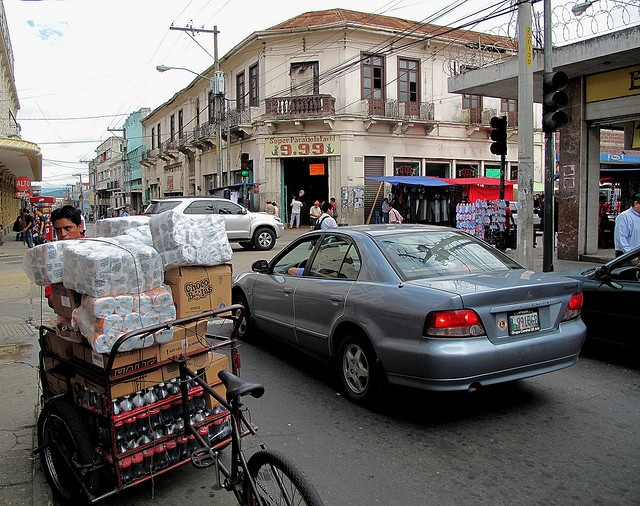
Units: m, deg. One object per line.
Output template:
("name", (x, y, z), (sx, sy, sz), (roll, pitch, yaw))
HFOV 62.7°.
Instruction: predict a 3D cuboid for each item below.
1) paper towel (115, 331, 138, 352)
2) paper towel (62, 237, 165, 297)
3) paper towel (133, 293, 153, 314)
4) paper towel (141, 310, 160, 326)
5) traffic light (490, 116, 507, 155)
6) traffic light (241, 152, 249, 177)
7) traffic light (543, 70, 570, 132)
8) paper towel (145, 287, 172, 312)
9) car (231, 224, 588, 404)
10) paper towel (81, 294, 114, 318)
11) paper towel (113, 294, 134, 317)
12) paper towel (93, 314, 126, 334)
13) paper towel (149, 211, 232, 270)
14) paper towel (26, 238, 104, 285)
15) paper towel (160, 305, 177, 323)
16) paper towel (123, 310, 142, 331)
("paper towel", (-1.322, 0.624, 3.597), (0.137, 0.151, 0.100), (-6, 15, -36))
("paper towel", (-1.560, 0.088, 3.868), (0.644, 0.363, 0.574), (15, 16, 42))
("paper towel", (-1.266, 0.362, 3.720), (0.104, 0.123, 0.062), (8, 12, -20))
("paper towel", (-1.221, 0.469, 3.746), (0.016, 0.101, 0.095), (7, 12, 40))
("traffic light", (4.160, -2.755, 12.246), (0.333, 0.892, 0.646), (1, 8, 16))
("traffic light", (-3.163, -3.661, 21.987), (0.255, 0.950, 0.664), (-2, 8, -14))
("traffic light", (4.219, -2.741, 9.496), (0.380, 1.223, 0.376), (2, 5, -2))
("paper towel", (-1.174, 0.302, 3.831), (0.138, 0.169, 0.179), (-9, 15, -29))
("car", (0.591, 0.603, 7.045), (2.329, 1.871, 5.401), (-1, 2, -28))
("paper towel", (-1.517, 0.365, 3.605), (0.133, 0.145, 0.172), (-5, 11, -43))
("paper towel", (-1.366, 0.370, 3.639), (0.109, 0.130, 0.118), (-5, 22, -13))
("paper towel", (-1.428, 0.493, 3.587), (0.113, 0.136, 0.140), (-2, 8, -39))
("paper towel", (-0.994, -0.108, 4.138), (0.614, 0.456, 0.351), (-7, 10, -38))
("paper towel", (-2.016, 0.060, 4.070), (0.317, 0.341, 0.446), (-4, 12, 19))
("paper towel", (-1.116, 0.457, 3.849), (0.119, 0.108, 0.080), (-8, 6, -11))
("paper towel", (-1.319, 0.484, 3.682), (0.112, 0.124, 0.031), (7, 3, -38))
